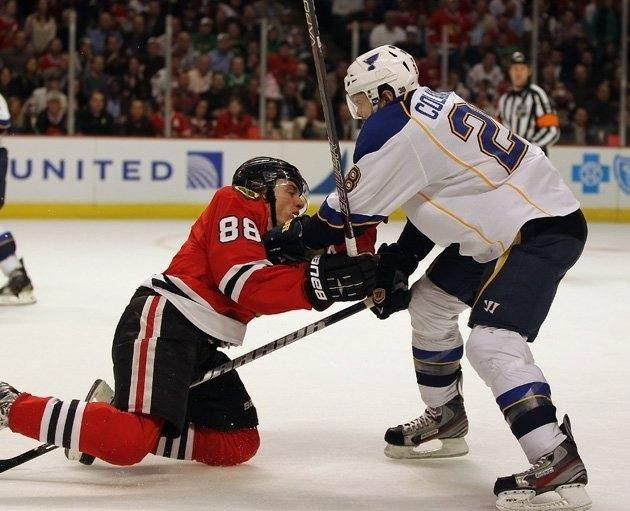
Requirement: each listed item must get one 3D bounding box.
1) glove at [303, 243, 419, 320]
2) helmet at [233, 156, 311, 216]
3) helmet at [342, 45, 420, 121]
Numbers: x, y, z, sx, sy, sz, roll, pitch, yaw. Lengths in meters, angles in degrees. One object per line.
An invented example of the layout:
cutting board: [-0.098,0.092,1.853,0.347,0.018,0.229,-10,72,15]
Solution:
glove: [0.203,0.080,3.033,0.286,0.260,0.099,3,35,-1]
helmet: [-0.160,-0.252,3.154,0.272,0.223,0.195,5,12,1]
helmet: [0.220,-0.615,3.082,0.268,0.226,0.203,-5,14,20]
